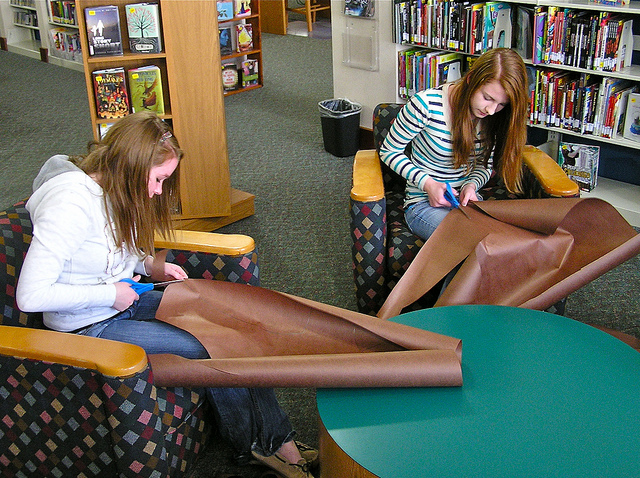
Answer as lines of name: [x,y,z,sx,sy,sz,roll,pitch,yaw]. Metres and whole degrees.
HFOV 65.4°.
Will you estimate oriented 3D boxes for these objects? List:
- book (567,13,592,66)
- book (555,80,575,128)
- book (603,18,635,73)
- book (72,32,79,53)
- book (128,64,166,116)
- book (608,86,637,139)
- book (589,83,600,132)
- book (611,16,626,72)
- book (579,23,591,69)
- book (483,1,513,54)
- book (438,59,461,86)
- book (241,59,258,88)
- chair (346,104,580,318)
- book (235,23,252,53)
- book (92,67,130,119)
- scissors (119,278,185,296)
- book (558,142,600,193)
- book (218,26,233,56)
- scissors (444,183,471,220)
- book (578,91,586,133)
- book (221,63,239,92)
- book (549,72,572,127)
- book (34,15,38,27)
book: [1.638,-1.260,3.129,0.036,0.267,0.233,19,37,24]
book: [1.643,-0.913,3.331,0.038,0.276,0.207,8,29,21]
book: [1.841,-1.198,3.076,0.089,0.255,0.255,13,34,30]
book: [-3.458,-2.748,7.013,0.077,0.236,0.078,-10,27,-24]
book: [-1.061,-0.899,3.033,0.198,0.277,0.168,-8,27,-20]
book: [1.953,-0.822,3.210,0.264,0.302,0.044,-26,42,-20]
book: [1.803,-0.858,3.277,0.044,0.294,0.079,8,26,13]
book: [1.834,-1.203,3.058,0.040,0.260,0.224,10,40,30]
book: [1.664,-1.208,3.123,0.038,0.174,0.172,7,20,15]
book: [1.232,-1.477,3.479,0.242,0.319,0.087,-16,30,-33]
book: [0.949,-1.263,3.785,0.229,0.221,0.060,-16,33,-32]
book: [-0.878,-2.074,6.283,0.243,0.314,0.123,-12,28,-27]
chair: [0.514,0.085,2.985,1.336,1.290,1.096,-2,38,1]
book: [-0.966,-2.535,6.296,0.215,0.325,0.238,-3,25,-9]
book: [-1.246,-0.860,2.967,0.205,0.291,0.078,0,21,-1]
scissors: [-0.638,0.177,1.868,0.205,0.035,0.086,-8,49,-14]
book: [1.891,-0.547,3.606,0.210,0.332,0.327,-14,25,-14]
book: [-1.168,-2.441,6.170,0.150,0.319,0.308,-3,26,-10]
scissors: [0.642,-0.179,2.386,0.205,0.055,0.062,51,12,30]
book: [1.717,-0.830,3.279,0.027,0.245,0.028,6,21,8]
book: [-1.166,-2.033,6.257,0.244,0.319,0.195,-9,29,-18]
book: [1.622,-0.948,3.346,0.049,0.300,0.266,12,33,28]
book: [-4.441,-3.379,7.753,0.052,0.169,0.204,-11,28,-25]
